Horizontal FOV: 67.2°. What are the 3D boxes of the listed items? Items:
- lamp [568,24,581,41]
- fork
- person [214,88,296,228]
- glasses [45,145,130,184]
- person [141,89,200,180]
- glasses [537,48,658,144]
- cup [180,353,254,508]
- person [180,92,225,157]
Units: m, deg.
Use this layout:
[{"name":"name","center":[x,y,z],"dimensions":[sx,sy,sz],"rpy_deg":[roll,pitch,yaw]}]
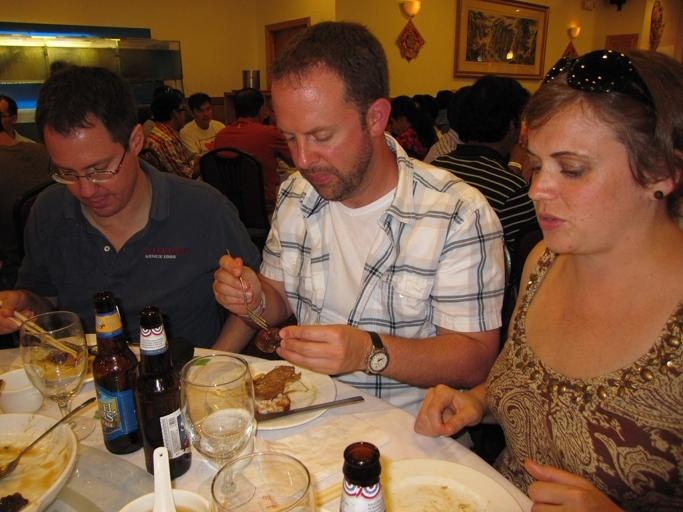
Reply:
[{"name":"lamp","center":[4.172,-3.982,9.183],"dimensions":[0.234,0.249,0.278],"rpy_deg":[-1,13,3]},{"name":"fork","center":[-0.349,0.127,1.884],"dimensions":[0.062,0.318,0.051],"rpy_deg":[-23,1,35]},{"name":"person","center":[-0.819,-0.863,4.990],"dimensions":[0.638,1.557,0.783],"rpy_deg":[10,29,11]},{"name":"glasses","center":[-0.940,-0.335,1.921],"dimensions":[0.264,0.128,0.124],"rpy_deg":[-5,18,-20]},{"name":"person","center":[-1.845,-1.320,5.716],"dimensions":[0.594,0.895,0.623],"rpy_deg":[2,21,-13]},{"name":"glasses","center":[0.661,-0.432,1.340],"dimensions":[0.141,0.201,0.299],"rpy_deg":[-6,19,-24]},{"name":"cup","center":[-0.287,0.415,1.236],"dimensions":[0.172,0.417,0.155],"rpy_deg":[3,16,-6]},{"name":"person","center":[-1.863,-1.709,6.986],"dimensions":[0.632,0.970,0.534],"rpy_deg":[-8,13,-23]}]
